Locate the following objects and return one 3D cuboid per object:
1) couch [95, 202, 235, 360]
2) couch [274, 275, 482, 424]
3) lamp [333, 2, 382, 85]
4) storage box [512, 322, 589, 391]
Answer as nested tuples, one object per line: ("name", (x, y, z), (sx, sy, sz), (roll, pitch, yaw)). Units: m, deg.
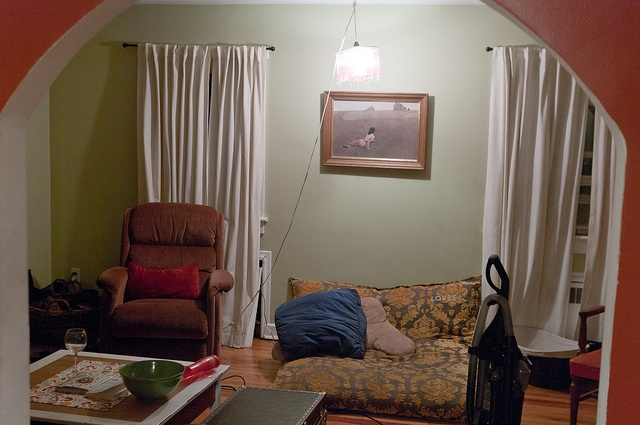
("couch", (-1.158, 0.514, 4.439), (1.074, 1.273, 1.172), (0, 2, 0))
("couch", (0.494, 0.952, 3.980), (1.295, 0.814, 1.363), (3, 4, 20))
("lamp", (0.324, -1.470, 4.448), (0.381, 0.731, 0.462), (2, 4, 2))
("storage box", (1.804, 1.113, 4.147), (0.409, 0.200, 0.551), (-1, 0, -37))
